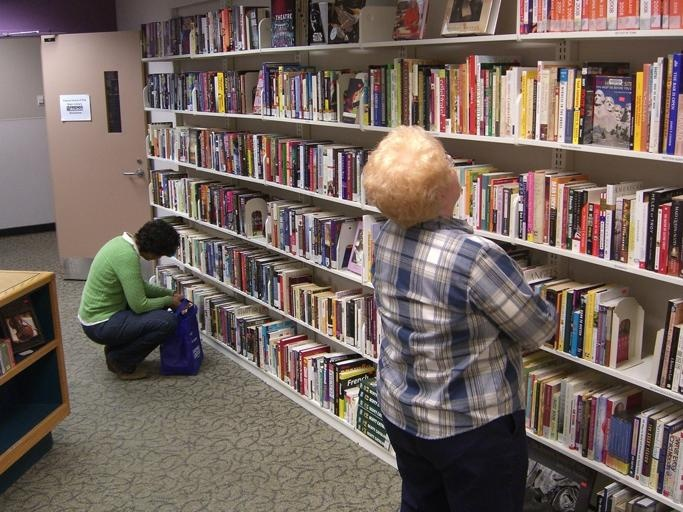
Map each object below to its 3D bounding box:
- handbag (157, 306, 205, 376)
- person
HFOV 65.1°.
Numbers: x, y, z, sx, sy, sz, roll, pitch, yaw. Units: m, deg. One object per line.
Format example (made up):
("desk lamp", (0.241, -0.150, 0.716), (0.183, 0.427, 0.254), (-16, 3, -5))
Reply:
("handbag", (-1.242, 0.672, 4.164), (0.270, 0.510, 0.449), (-1, 13, -1))
("person", (-1.633, 0.329, 4.258), (0.724, 1.226, 0.647), (3, 7, -15))
